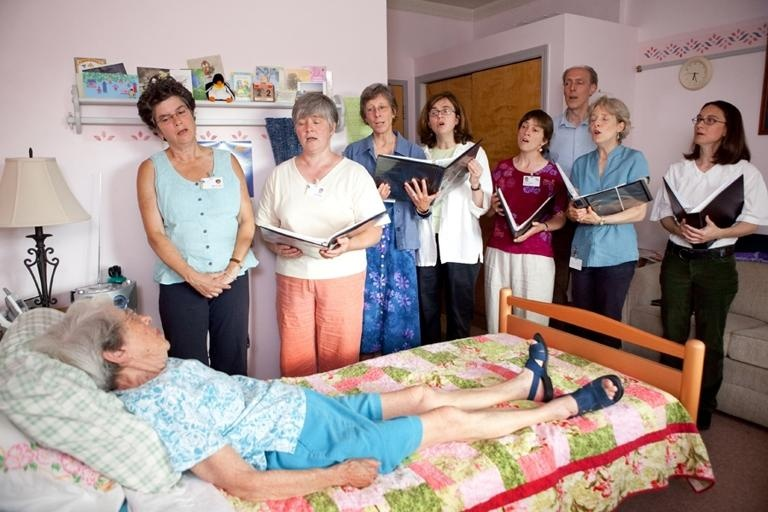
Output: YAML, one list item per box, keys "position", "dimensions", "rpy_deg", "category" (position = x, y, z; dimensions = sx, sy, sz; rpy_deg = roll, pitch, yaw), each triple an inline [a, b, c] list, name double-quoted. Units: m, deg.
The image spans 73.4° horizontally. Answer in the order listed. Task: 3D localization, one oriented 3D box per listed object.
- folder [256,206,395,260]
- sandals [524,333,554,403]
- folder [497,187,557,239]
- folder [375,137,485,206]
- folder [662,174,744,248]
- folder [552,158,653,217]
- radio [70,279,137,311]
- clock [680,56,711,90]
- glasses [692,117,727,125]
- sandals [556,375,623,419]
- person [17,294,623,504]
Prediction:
- position: [-0.397, -0.187, 3.182]
  dimensions: [0.897, 0.238, 0.673]
  rpy_deg: [-4, 10, -19]
  category: "folder"
- position: [0.815, 0.591, 2.693]
  dimensions: [0.113, 0.323, 0.077]
  rpy_deg: [-10, -25, 30]
  category: "sandals"
- position: [0.937, -0.259, 3.481]
  dimensions: [0.394, 0.355, 0.356]
  rpy_deg: [10, 15, 12]
  category: "folder"
- position: [0.220, -0.550, 3.322]
  dimensions: [0.762, 0.352, 0.510]
  rpy_deg: [-4, 10, -23]
  category: "folder"
- position: [1.960, -0.329, 3.160]
  dimensions: [0.453, 0.317, 0.248]
  rpy_deg: [1, 13, 20]
  category: "folder"
- position: [1.361, -0.425, 3.204]
  dimensions: [0.406, 0.331, 0.540]
  rpy_deg: [-4, 8, -23]
  category: "folder"
- position: [-1.565, 0.219, 2.891]
  dimensions: [0.300, 0.138, 0.293]
  rpy_deg: [18, 11, 42]
  category: "radio"
- position: [2.687, -1.574, 4.443]
  dimensions: [0.056, 0.242, 0.236]
  rpy_deg: [7, 12, -32]
  category: "clock"
- position: [2.053, -0.849, 3.244]
  dimensions: [0.094, 0.028, 0.092]
  rpy_deg: [4, 1, -23]
  category: "glasses"
- position: [1.023, 0.681, 2.571]
  dimensions: [0.352, 0.130, 0.110]
  rpy_deg: [-27, -8, 17]
  category: "sandals"
- position: [-0.076, 0.691, 2.666]
  dimensions: [2.828, 0.938, 0.960]
  rpy_deg: [-1, 11, -21]
  category: "person"
